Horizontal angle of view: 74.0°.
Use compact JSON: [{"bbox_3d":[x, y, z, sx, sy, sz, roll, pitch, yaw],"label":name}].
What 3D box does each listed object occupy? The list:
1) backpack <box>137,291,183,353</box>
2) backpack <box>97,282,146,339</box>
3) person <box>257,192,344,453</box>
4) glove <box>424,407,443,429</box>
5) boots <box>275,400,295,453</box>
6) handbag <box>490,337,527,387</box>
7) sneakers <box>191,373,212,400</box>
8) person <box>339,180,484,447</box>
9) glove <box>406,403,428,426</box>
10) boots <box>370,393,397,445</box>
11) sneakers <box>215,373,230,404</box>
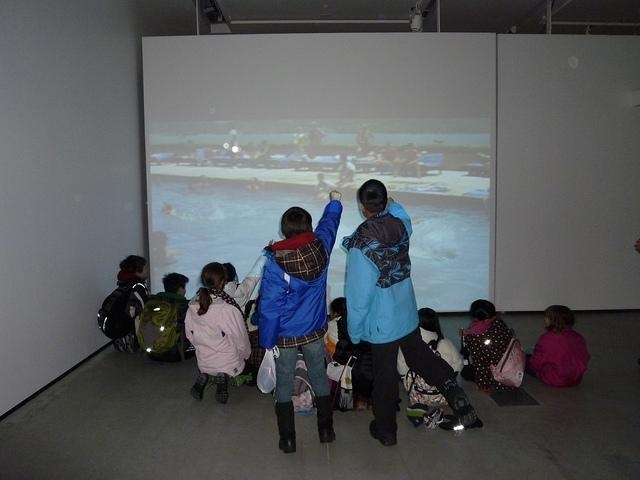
[{"bbox_3d":[-1.695,0.938,4.432,0.453,0.609,0.167,1,14,9],"label":"backpack"},{"bbox_3d":[-2.188,0.780,4.861,0.619,0.638,0.449,-7,4,-29],"label":"backpack"},{"bbox_3d":[-0.104,0.664,3.257,0.571,1.785,0.714,11,18,41],"label":"person"},{"bbox_3d":[0.928,1.438,3.406,0.182,0.117,0.068,-31,-28,34],"label":"glove"},{"bbox_3d":[-0.258,1.399,3.191,0.140,0.390,0.178,-2,14,-5],"label":"boots"},{"bbox_3d":[1.715,1.085,3.895,0.418,0.343,0.134,-49,29,-23],"label":"handbag"},{"bbox_3d":[-1.090,1.342,3.941,0.151,0.266,0.077,14,-1,25],"label":"sneakers"},{"bbox_3d":[0.617,0.559,3.226,0.886,1.968,0.538,0,14,3],"label":"person"},{"bbox_3d":[0.776,1.416,3.479,0.175,0.140,0.136,-9,9,10],"label":"glove"},{"bbox_3d":[0.509,1.386,3.302,0.159,0.334,0.310,-3,-6,-1],"label":"boots"},{"bbox_3d":[-0.880,1.340,3.848,0.097,0.298,0.200,-3,-5,-1],"label":"sneakers"}]
